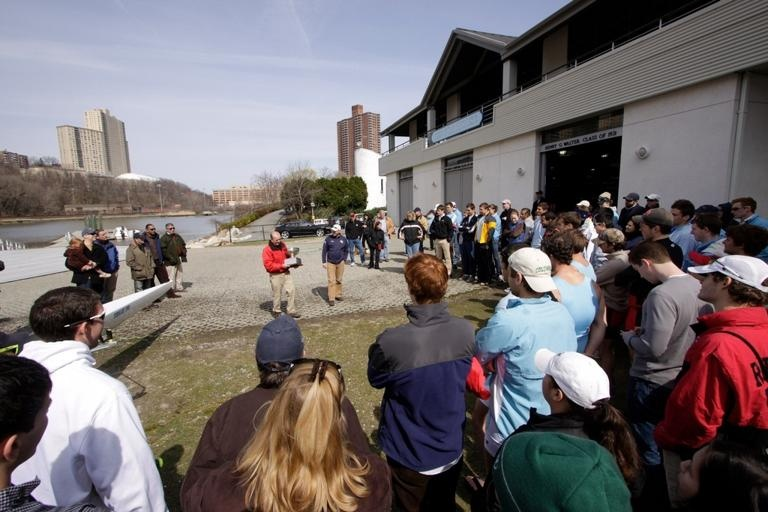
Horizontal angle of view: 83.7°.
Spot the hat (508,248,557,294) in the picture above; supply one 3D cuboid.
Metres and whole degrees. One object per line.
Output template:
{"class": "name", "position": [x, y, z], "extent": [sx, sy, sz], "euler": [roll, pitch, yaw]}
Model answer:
{"class": "hat", "position": [1.408, 0.087, 3.993], "extent": [0.349, 0.313, 0.538], "euler": [-2, 24, -21]}

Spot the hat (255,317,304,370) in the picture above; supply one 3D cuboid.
{"class": "hat", "position": [-0.832, 0.675, 3.446], "extent": [0.396, 0.243, 0.588], "euler": [1, 18, -6]}

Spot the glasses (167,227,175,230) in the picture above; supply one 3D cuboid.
{"class": "glasses", "position": [-5.063, -0.656, 10.213], "extent": [0.123, 0.042, 0.129], "euler": [-11, 19, -43]}

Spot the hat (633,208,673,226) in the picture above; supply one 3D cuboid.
{"class": "hat", "position": [3.530, -0.484, 5.564], "extent": [0.221, 0.166, 0.323], "euler": [-9, 16, -22]}

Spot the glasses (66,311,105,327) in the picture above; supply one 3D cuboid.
{"class": "glasses", "position": [-2.430, 0.519, 3.527], "extent": [0.123, 0.092, 0.320], "euler": [1, 9, 14]}

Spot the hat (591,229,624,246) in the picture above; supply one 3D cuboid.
{"class": "hat", "position": [3.004, -0.252, 5.629], "extent": [0.274, 0.208, 0.224], "euler": [2, 9, 17]}
